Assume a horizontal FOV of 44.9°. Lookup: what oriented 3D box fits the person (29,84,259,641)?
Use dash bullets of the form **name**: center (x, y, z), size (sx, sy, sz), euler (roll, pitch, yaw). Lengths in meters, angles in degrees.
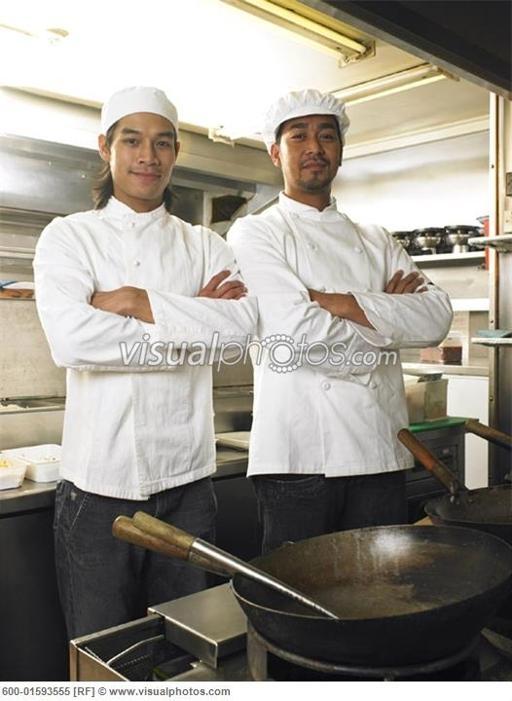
- **person**: center (-0.219, 0.032, 1.256), size (0.414, 0.799, 0.267), euler (-2, 1, -19)
